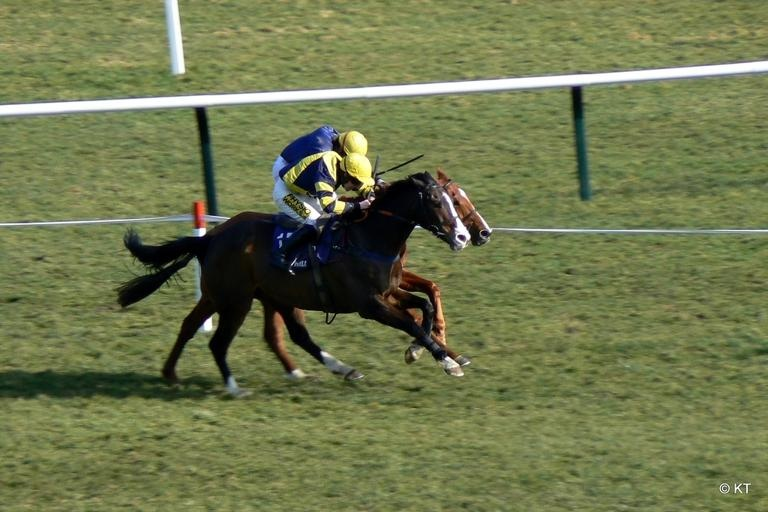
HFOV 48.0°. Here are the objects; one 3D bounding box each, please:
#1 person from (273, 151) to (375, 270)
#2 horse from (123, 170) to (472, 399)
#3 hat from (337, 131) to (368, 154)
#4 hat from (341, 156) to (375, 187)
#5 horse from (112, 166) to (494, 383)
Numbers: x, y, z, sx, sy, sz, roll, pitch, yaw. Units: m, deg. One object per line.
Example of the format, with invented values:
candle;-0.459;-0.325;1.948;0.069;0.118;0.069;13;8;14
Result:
person;-0.480;-0.356;6.767;0.805;0.967;0.496;-2;27;0
horse;-0.729;0.197;7.274;4.021;1.319;0.831;-4;3;36
hat;-0.251;-0.881;6.743;0.211;0.178;0.221;-3;21;-4
hat;-0.210;-0.674;6.698;0.253;0.268;0.166;-4;26;-4
horse;-0.780;0.300;7.064;3.499;1.152;0.631;-8;-27;28
